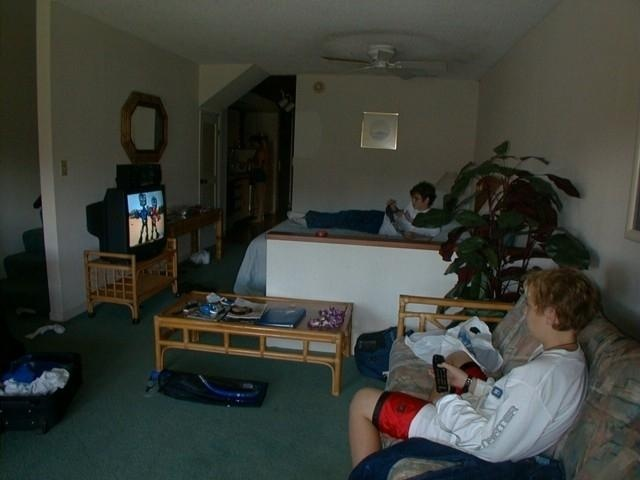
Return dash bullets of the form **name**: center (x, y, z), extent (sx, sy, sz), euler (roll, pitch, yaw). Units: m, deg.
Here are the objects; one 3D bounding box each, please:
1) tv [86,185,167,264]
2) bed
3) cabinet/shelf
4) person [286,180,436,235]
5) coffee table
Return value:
- **tv**: center (-1.633, -0.172, 4.491), extent (0.559, 0.777, 0.767), euler (3, 8, 9)
- **bed**: center (0.450, 0.071, 4.796), extent (1.939, 0.811, 1.387), euler (5, 12, 13)
- **cabinet/shelf**: center (-1.765, 0.220, 4.553), extent (0.629, 0.703, 0.902), euler (3, 10, 13)
- **person**: center (0.407, -0.410, 5.165), extent (1.497, 0.707, 0.699), euler (9, 2, 14)
- **coffee table**: center (-0.473, 0.717, 3.584), extent (1.364, 0.554, 0.735), euler (2, 7, 9)
